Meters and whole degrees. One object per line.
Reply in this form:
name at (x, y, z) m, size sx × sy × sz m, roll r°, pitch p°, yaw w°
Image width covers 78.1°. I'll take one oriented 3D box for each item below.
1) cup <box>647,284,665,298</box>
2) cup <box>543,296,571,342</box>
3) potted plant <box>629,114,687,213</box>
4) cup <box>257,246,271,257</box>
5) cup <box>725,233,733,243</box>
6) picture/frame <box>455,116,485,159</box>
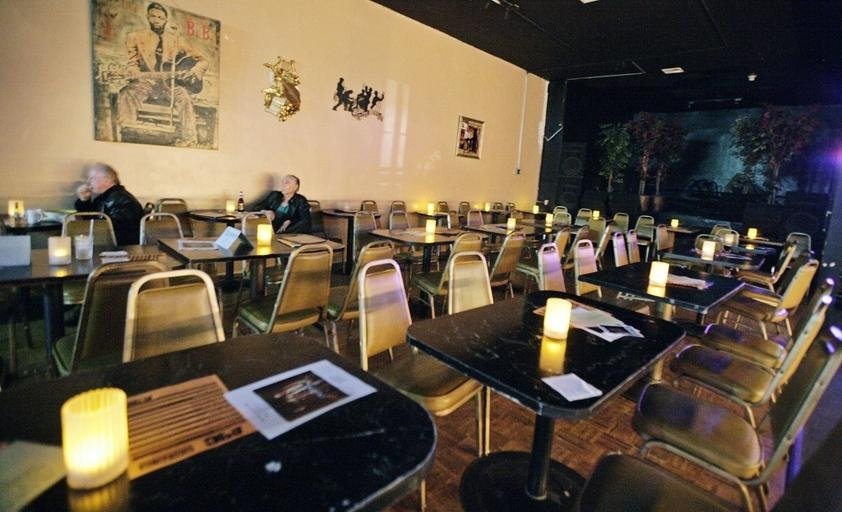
cup at (2.159, 0.319, 4.747) m, size 0.135 × 0.073 × 0.130 m, roll 1°, pitch 9°, yaw 0°
cup at (1.034, 0.448, 3.833) m, size 0.263 × 0.296 × 0.187 m, roll -1°, pitch 14°, yaw -11°
potted plant at (5.493, -2.272, 12.208) m, size 1.200 × 2.058 × 1.261 m, roll 8°, pitch 16°, yaw 26°
cup at (-1.565, -0.052, 5.151) m, size 0.147 × 0.079 × 0.139 m, roll 4°, pitch 6°, yaw 0°
cup at (4.466, -0.259, 7.522) m, size 0.118 × 0.146 × 0.116 m, roll 12°, pitch 0°, yaw 0°
picture/frame at (0.965, -2.428, 10.500) m, size 0.143 × 0.813 × 1.029 m, roll 10°, pitch 6°, yaw 34°
